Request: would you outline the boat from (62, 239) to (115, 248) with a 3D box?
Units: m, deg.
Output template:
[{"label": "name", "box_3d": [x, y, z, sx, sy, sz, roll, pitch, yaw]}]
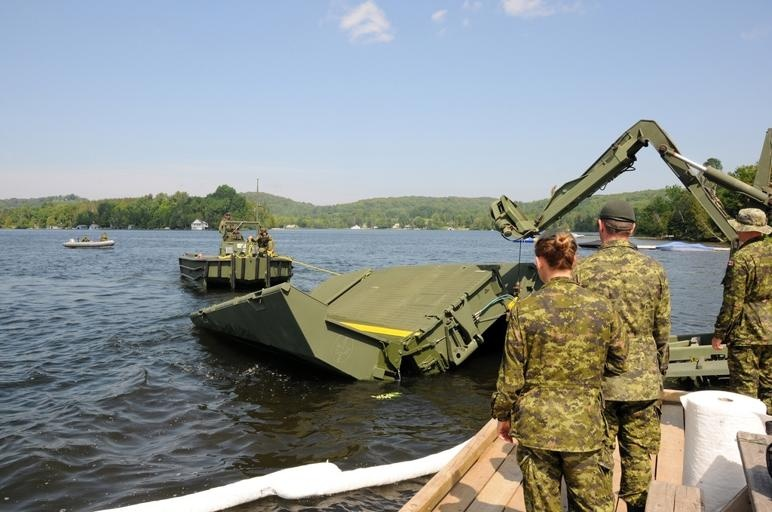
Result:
[{"label": "boat", "box_3d": [-33.453, -1.463, 70.737, 3.550, 0.869, 1.922, -1, 7, -19]}]
